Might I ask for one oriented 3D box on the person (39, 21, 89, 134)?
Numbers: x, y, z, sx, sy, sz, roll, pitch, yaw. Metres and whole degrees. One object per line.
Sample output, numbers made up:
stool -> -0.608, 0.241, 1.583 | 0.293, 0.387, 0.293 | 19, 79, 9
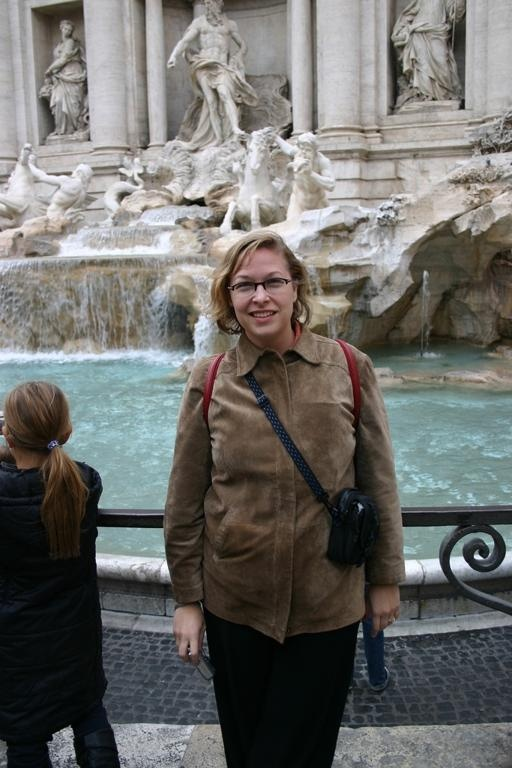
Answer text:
person -> -5.229, -8.248, 19.381 | 1.197, 3.136, 0.658 | -5, 9, -6

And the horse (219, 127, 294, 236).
horse -> 0.098, -3.592, 12.645 | 0.709, 1.809, 1.984 | 7, 21, 22
